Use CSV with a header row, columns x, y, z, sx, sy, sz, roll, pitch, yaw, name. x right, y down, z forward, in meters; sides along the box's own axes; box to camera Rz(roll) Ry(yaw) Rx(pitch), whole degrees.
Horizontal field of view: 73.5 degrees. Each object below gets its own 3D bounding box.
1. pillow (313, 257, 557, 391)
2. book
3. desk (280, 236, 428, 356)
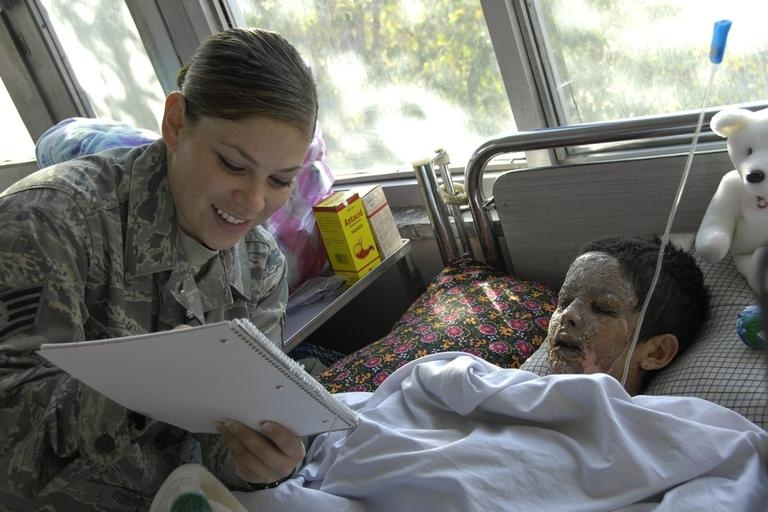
x,y,z,sx,sy,sz,roll,pitch,yaw,name
0.274,0.234,1.876,0.523,0.164,0.548,9,41,47,pillow
-0.403,0.267,1.066,0.555,0.536,0.076,-9,59,18,book
-0.115,0.151,2.234,0.310,0.406,0.421,12,48,47,desk
